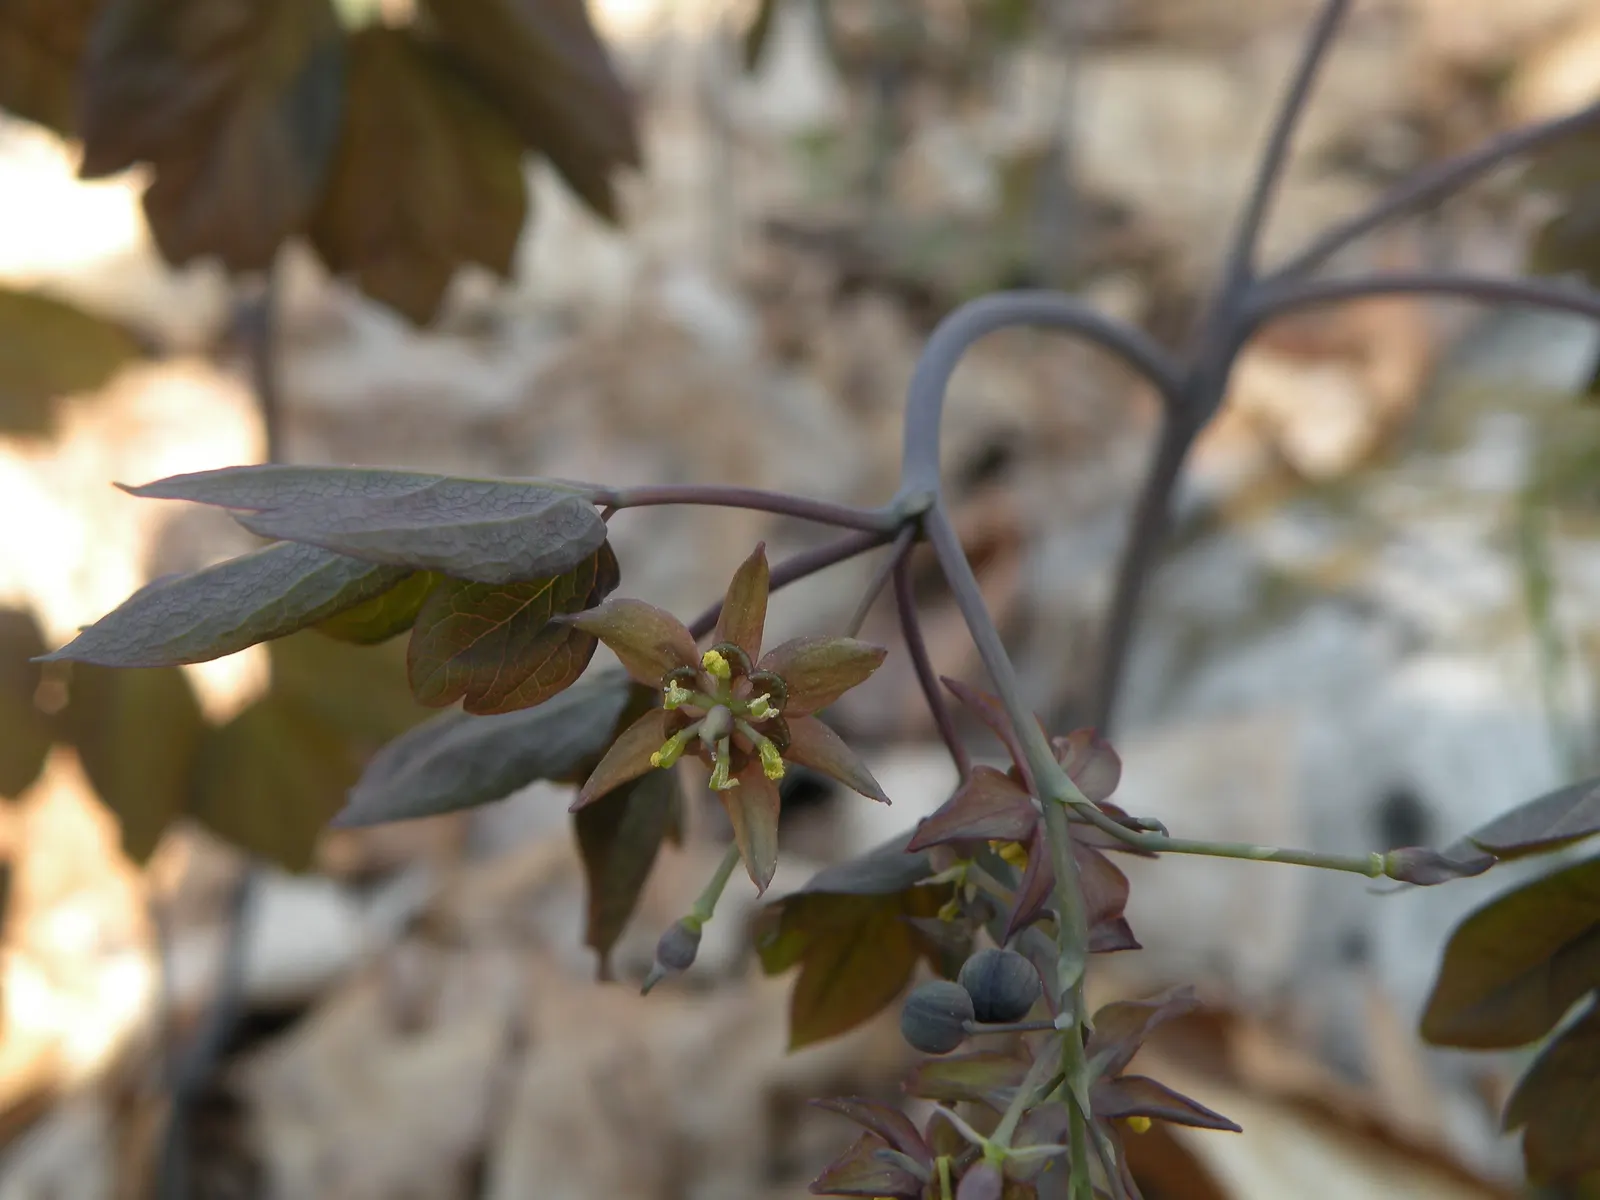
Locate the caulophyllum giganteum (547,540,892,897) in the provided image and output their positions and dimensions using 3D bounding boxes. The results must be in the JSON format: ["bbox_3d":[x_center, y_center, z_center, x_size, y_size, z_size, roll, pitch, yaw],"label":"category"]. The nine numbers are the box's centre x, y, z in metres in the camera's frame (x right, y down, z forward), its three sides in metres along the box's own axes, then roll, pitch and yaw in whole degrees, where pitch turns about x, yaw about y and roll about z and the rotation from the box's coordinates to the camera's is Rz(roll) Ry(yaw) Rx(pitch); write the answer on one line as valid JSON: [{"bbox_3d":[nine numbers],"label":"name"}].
[{"bbox_3d":[-0.042,0.059,1.362,0.164,0.064,0.161,32,-67,-4],"label":"caulophyllum giganteum"}]

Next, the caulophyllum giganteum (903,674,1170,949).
[{"bbox_3d":[0.124,0.122,1.367,0.165,0.199,0.049,-9,-68,12],"label":"caulophyllum giganteum"}]
